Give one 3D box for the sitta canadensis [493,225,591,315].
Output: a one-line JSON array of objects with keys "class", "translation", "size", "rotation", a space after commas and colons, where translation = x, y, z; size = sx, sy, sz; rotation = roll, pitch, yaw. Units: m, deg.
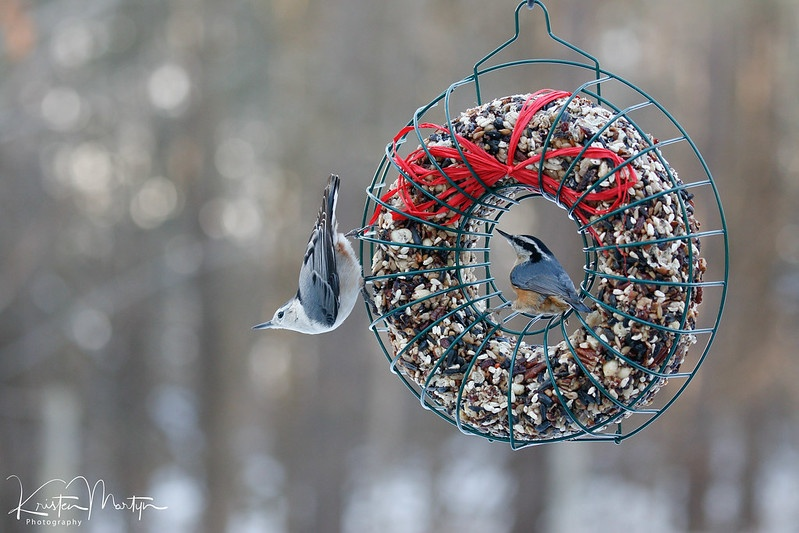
[{"class": "sitta canadensis", "translation": [0.791, 0.073, 7.574], "size": [0.309, 0.641, 0.482], "rotation": [-27, -52, -40]}]
